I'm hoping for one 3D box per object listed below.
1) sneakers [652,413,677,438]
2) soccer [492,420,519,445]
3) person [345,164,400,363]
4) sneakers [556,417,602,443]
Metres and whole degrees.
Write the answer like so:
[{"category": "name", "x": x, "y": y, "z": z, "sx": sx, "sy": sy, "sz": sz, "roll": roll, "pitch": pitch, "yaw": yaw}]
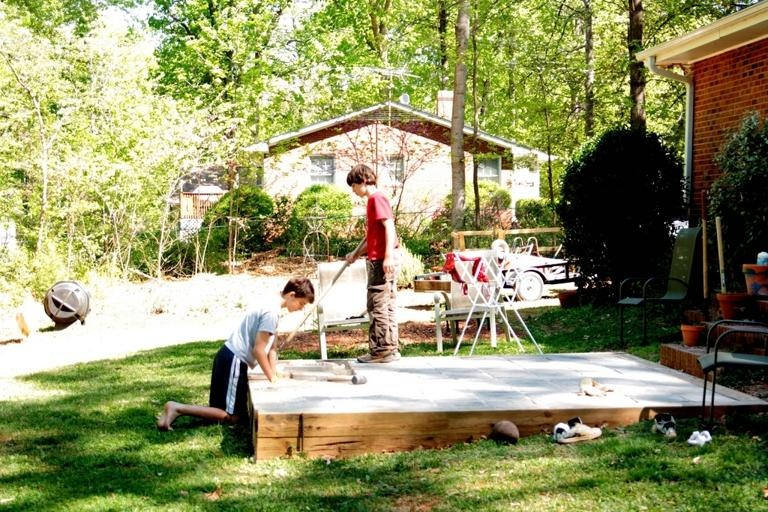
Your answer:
[{"category": "sneakers", "x": 2.936, "y": 1.777, "z": 7.792, "sx": 0.205, "sy": 0.218, "sz": 0.223, "roll": -2, "pitch": -38, "yaw": 1}, {"category": "soccer", "x": 1.282, "y": 1.842, "z": 7.887, "sx": 0.305, "sy": 0.234, "sz": 0.179, "roll": 0, "pitch": -1, "yaw": 2}, {"category": "person", "x": -0.140, "y": 0.053, "z": 10.061, "sx": 0.771, "sy": 2.374, "sz": 0.699, "roll": 0, "pitch": 0, "yaw": 19}, {"category": "sneakers", "x": 2.023, "y": 1.823, "z": 7.842, "sx": 0.388, "sy": 0.166, "sz": 0.227, "roll": -1, "pitch": 2, "yaw": -13}]
